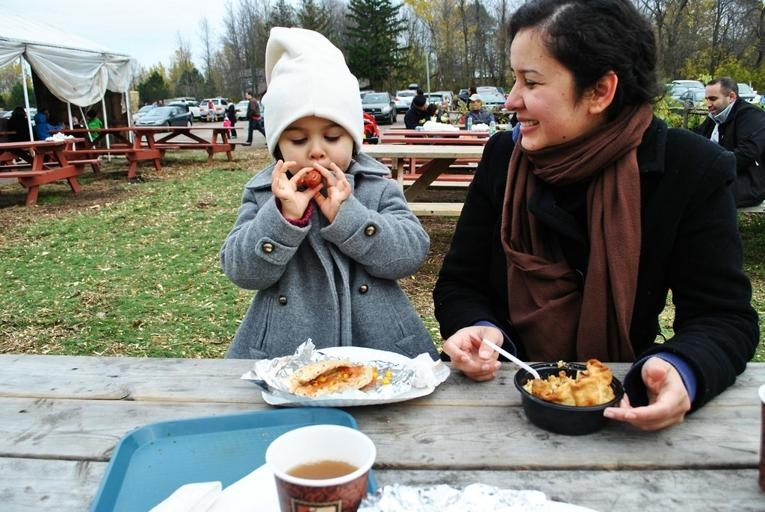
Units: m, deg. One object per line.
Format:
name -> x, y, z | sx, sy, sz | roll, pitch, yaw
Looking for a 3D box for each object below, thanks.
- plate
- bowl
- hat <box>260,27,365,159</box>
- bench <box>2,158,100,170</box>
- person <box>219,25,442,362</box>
plate -> -0.118, 0.405, 1.978 | 0.788, 0.071, 0.679 | -2, 5, 1
bowl -> 0.582, 0.432, 1.932 | 0.367, 0.200, 0.359 | 2, 8, 0
hat -> -0.315, -0.727, 2.506 | 0.432, 0.549, 0.387 | -4, 18, -4
bench -> -6.516, -1.824, 11.257 | 0.865, 0.160, 0.293 | 2, 19, 1
person -> -0.242, -0.133, 2.660 | 0.778, 1.663, 0.716 | -1, 3, -2
